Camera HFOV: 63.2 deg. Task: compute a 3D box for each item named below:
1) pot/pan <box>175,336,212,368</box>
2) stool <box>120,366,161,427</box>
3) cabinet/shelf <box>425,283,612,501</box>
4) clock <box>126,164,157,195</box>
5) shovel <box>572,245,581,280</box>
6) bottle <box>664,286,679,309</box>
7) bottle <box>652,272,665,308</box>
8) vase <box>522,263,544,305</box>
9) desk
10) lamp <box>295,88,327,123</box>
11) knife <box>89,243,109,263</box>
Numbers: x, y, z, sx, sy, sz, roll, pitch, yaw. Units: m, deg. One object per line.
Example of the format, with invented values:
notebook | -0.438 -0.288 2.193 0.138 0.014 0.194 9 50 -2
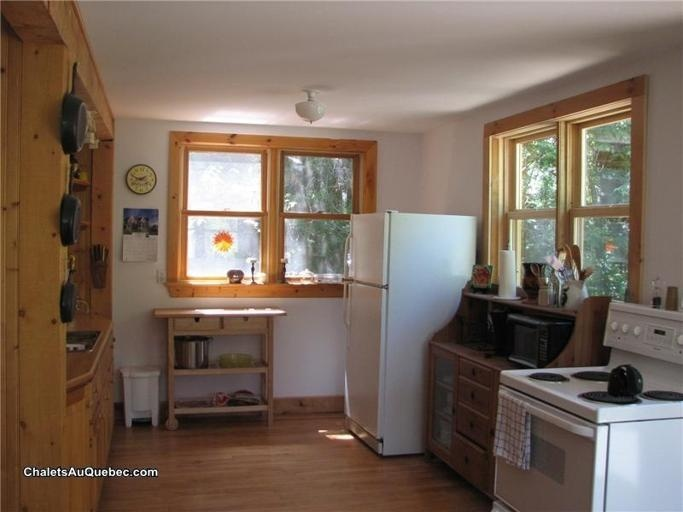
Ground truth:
pot/pan | -1.352 0.893 5.160 0.311 0.225 0.248 0 -2 13
stool | -1.825 1.256 5.157 0.517 0.606 0.455 0 -1 -18
cabinet/shelf | 1.141 0.895 3.544 0.541 1.436 1.477 3 0 -14
clock | -1.899 -0.717 5.219 0.285 0.289 0.040 1 -3 -16
shovel | 1.583 0.034 3.731 0.073 0.183 0.248 7 14 22
bottle | 1.888 0.238 3.151 0.070 0.121 0.160 10 15 32
bottle | 1.872 0.210 3.274 0.070 0.166 0.176 8 14 28
vase | 1.419 0.192 4.081 0.206 0.303 0.224 -1 -1 35
desk | -1.183 1.062 5.213 1.076 1.013 0.385 0 -1 -15
lamp | -0.263 -1.150 4.341 0.224 0.251 0.218 1 -2 -20
knife | -2.144 -0.025 4.932 0.160 0.195 0.149 1 -4 2
